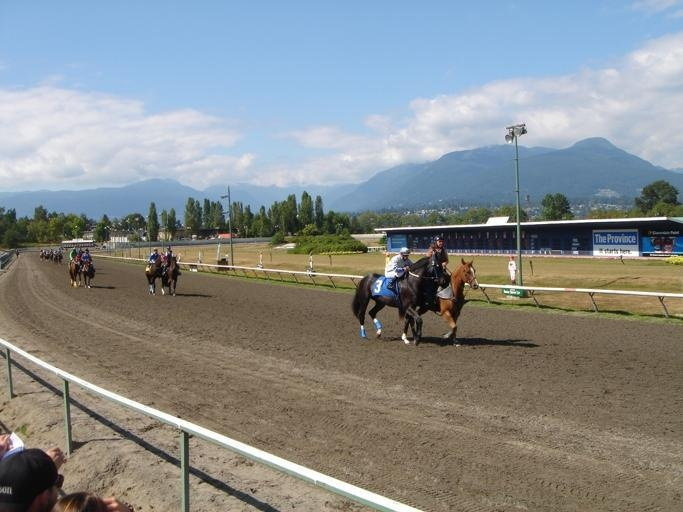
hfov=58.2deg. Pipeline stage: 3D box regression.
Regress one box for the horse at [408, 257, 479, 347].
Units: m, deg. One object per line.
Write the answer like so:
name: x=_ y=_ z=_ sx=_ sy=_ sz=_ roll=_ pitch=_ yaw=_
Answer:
horse: x=2.680 y=1.254 z=16.398 sx=0.809 sy=2.234 sz=3.071 roll=6 pitch=-5 yaw=-25

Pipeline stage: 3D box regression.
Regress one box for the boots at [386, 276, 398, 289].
boots: x=1.357 y=0.671 z=16.481 sx=0.351 sy=0.481 sz=0.261 roll=4 pitch=-1 yaw=2

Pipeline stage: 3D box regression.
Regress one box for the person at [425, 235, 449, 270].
person: x=2.493 y=-0.075 z=15.860 sx=0.483 sy=0.874 sz=0.983 roll=-2 pitch=3 yaw=8

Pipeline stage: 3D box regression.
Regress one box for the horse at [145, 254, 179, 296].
horse: x=-8.244 y=0.786 z=28.171 sx=1.327 sy=1.826 sz=2.490 roll=-3 pitch=4 yaw=-19

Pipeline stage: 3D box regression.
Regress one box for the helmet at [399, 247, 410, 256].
helmet: x=1.679 y=-0.123 z=16.163 sx=0.200 sy=0.223 sz=0.486 roll=-2 pitch=3 yaw=3

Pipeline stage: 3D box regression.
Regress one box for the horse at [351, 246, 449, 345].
horse: x=1.425 y=1.131 z=16.616 sx=0.796 sy=2.619 sz=3.240 roll=5 pitch=-5 yaw=-43
